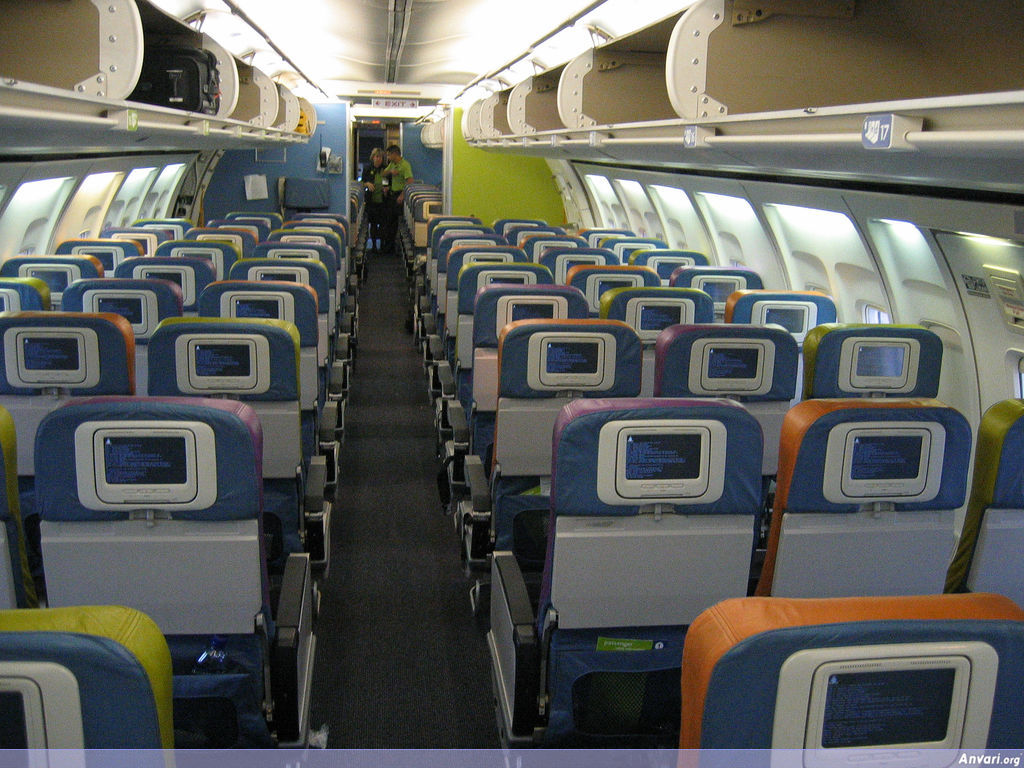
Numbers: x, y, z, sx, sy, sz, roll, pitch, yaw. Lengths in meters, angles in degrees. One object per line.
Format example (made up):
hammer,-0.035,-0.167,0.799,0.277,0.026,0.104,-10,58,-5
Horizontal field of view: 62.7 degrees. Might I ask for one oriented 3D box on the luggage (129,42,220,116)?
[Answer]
luggage,-2.938,-2.708,7.495,0.645,0.557,0.856,8,26,-7
